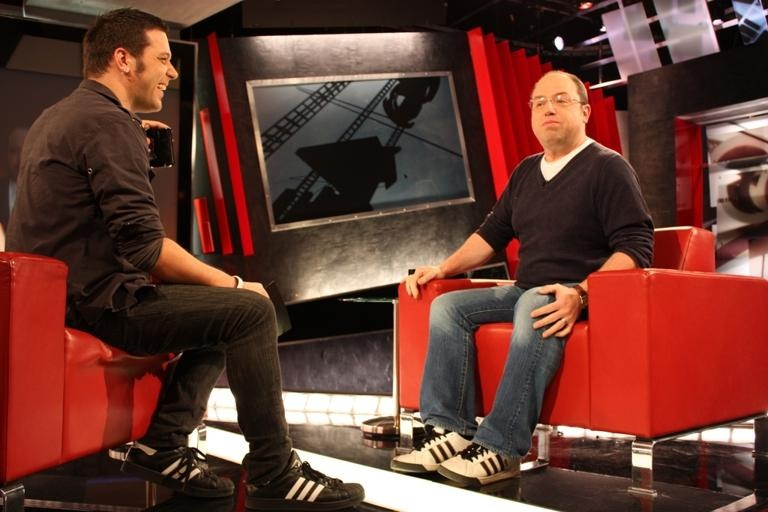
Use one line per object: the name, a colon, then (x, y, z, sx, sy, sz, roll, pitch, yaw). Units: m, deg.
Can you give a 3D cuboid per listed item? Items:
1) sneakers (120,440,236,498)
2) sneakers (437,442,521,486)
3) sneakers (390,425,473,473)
sneakers: (-0.800, 0.838, 2.418, 0.463, 0.171, 0.187, 20, -3, -4)
sneakers: (0.409, 0.862, 2.496, 0.364, 0.145, 0.167, 6, -12, -32)
sneakers: (0.231, 0.844, 2.620, 0.437, 0.187, 0.146, 4, -19, -25)
